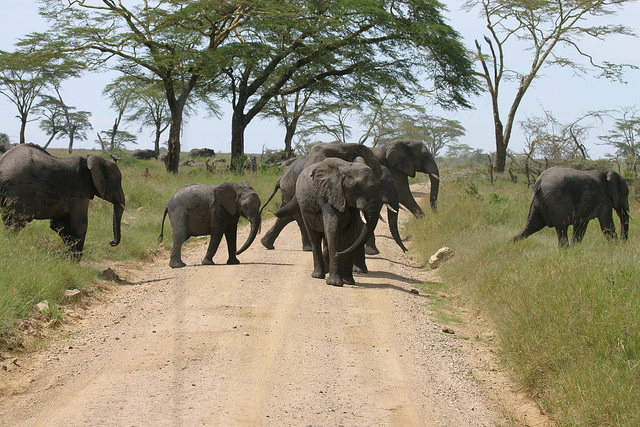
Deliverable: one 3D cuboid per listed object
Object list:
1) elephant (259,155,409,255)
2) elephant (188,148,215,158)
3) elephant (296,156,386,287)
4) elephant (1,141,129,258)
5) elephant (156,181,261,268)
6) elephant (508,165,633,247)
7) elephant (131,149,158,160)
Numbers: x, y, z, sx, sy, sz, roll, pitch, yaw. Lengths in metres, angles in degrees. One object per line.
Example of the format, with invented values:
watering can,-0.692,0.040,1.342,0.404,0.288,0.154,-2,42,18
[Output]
elephant,0.119,-0.038,13.215,3.415,2.185,1.695,8,3,42
elephant,-10.768,-5.383,53.380,2.103,0.731,1.513,-1,5,-14
elephant,0.351,0.158,11.465,1.056,2.404,3.059,-1,1,-27
elephant,-5.316,-0.130,12.228,1.319,2.093,2.975,0,-1,37
elephant,-2.317,0.272,12.832,2.007,1.857,0.740,0,5,-3
elephant,5.644,-0.171,13.057,2.439,1.688,0.850,-1,5,-20
elephant,-13.712,-4.512,46.202,1.499,0.763,3.546,0,4,-8
